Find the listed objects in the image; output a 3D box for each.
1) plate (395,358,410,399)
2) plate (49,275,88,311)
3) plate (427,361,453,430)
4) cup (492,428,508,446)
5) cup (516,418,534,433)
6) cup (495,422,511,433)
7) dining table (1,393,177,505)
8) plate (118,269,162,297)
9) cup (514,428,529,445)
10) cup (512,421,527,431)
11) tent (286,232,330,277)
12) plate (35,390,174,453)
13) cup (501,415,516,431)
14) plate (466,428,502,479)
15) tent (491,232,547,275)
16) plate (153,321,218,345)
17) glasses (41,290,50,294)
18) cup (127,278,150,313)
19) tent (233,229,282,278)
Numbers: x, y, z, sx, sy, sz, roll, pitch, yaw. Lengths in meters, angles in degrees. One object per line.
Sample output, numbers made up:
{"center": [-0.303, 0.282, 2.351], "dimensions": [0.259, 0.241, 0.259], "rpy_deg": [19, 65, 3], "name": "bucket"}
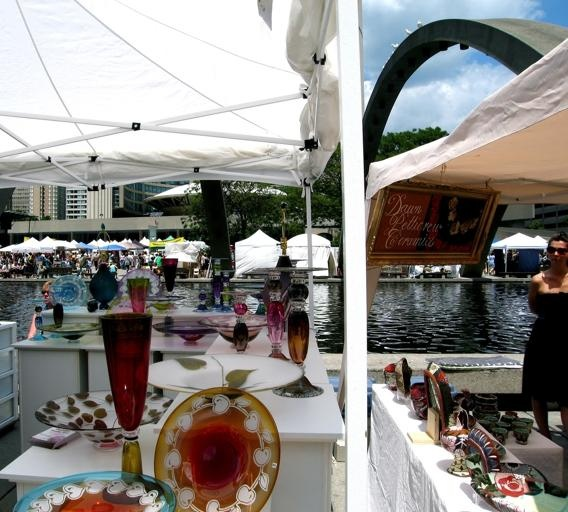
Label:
{"center": [0.667, 0.701, 2.798], "dimensions": [0.084, 0.235, 0.217], "rpy_deg": [0, -1, 13], "name": "plate"}
{"center": [-1.972, 0.333, 4.583], "dimensions": [0.317, 0.305, 0.190], "rpy_deg": [-14, 11, -16], "name": "plate"}
{"center": [0.681, 0.626, 2.214], "dimensions": [0.092, 0.243, 0.179], "rpy_deg": [-10, -3, -3], "name": "plate"}
{"center": [1.029, 0.860, 2.384], "dimensions": [0.072, 0.074, 0.073], "rpy_deg": [-2, -3, 0], "name": "cup"}
{"center": [1.207, 0.855, 2.527], "dimensions": [0.083, 0.063, 0.101], "rpy_deg": [-1, -8, 5], "name": "cup"}
{"center": [1.083, 0.841, 2.447], "dimensions": [0.046, 0.027, 0.045], "rpy_deg": [-1, 1, 0], "name": "cup"}
{"center": [-0.648, 0.552, 1.608], "dimensions": [0.348, 0.206, 0.342], "rpy_deg": [0, -1, 5], "name": "dining table"}
{"center": [-1.233, 0.211, 4.317], "dimensions": [0.339, 0.339, 0.142], "rpy_deg": [3, 5, 0], "name": "plate"}
{"center": [1.147, 0.880, 2.426], "dimensions": [0.069, 0.053, 0.074], "rpy_deg": [-1, -7, 0], "name": "cup"}
{"center": [1.175, 0.855, 2.484], "dimensions": [0.043, 0.025, 0.042], "rpy_deg": [0, 0, 0], "name": "cup"}
{"center": [1.081, -0.075, 22.886], "dimensions": [1.960, 1.513, 1.932], "rpy_deg": [1, 1, 11], "name": "tent"}
{"center": [-0.630, 0.544, 1.691], "dimensions": [0.273, 0.071, 0.261], "rpy_deg": [1, -1, -15], "name": "plate"}
{"center": [1.144, 0.856, 2.545], "dimensions": [0.061, 0.055, 0.060], "rpy_deg": [-2, 1, 0], "name": "cup"}
{"center": [0.769, 0.751, 1.927], "dimensions": [0.041, 0.123, 0.123], "rpy_deg": [-12, 33, 6], "name": "plate"}
{"center": [12.331, 0.007, 26.364], "dimensions": [2.794, 2.005, 2.788], "rpy_deg": [0, -2, 27], "name": "tent"}
{"center": [-0.672, 0.468, 3.289], "dimensions": [0.347, 0.089, 0.341], "rpy_deg": [2, -2, -40], "name": "plate"}
{"center": [-2.201, 0.340, 4.635], "dimensions": [0.042, 0.018, 0.047], "rpy_deg": [0, -1, 20], "name": "glasses"}
{"center": [-0.969, 0.268, 3.331], "dimensions": [0.117, 0.237, 0.355], "rpy_deg": [0, -1, -17], "name": "cup"}
{"center": [-1.275, -0.088, 21.847], "dimensions": [2.029, 1.826, 1.992], "rpy_deg": [1, 5, 4], "name": "tent"}
